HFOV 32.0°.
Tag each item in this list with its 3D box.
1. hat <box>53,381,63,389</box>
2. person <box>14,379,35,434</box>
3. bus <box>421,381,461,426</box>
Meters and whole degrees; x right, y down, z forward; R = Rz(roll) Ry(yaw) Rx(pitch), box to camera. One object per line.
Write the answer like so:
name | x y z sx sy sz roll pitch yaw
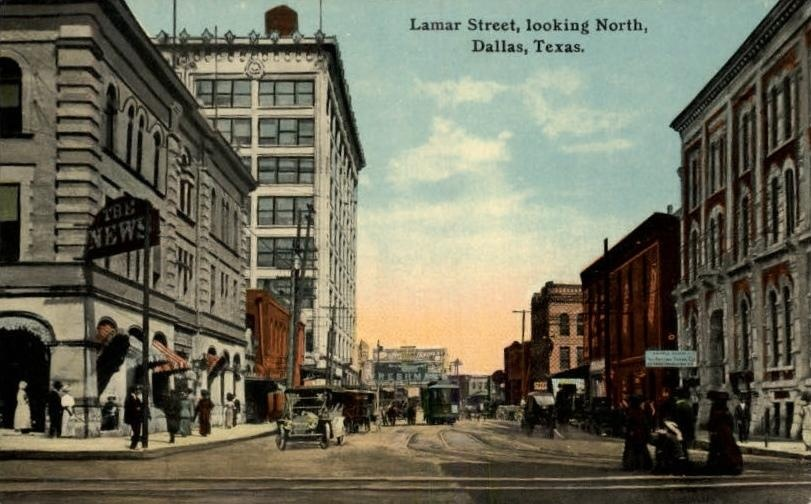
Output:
hat | -16.773 6.381 68.055 0.483 0.493 0.411 2 -16 -8
person | -18.716 7.528 68.983 0.678 2.323 1.064 -1 -15 4
bus | 2.616 11.670 109.522 2.665 3.874 4.205 -1 -16 4
